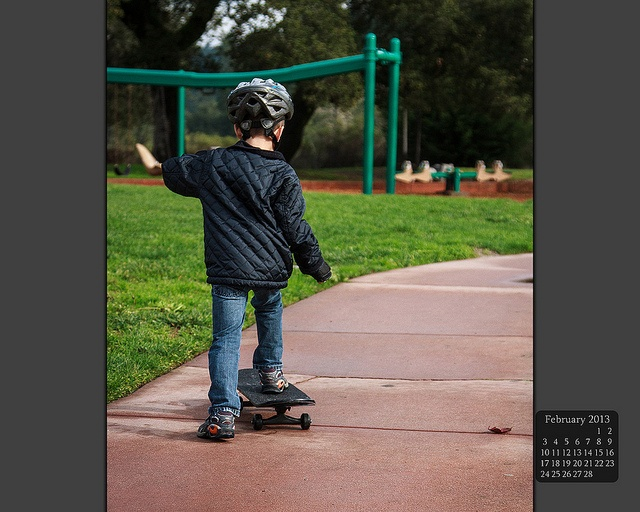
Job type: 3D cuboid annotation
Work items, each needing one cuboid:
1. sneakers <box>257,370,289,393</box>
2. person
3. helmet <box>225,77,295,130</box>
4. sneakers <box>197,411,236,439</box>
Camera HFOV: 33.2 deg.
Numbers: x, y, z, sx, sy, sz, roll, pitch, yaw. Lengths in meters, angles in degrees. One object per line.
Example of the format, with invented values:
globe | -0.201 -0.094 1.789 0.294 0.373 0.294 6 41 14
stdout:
sneakers | -0.369 0.985 8.417 0.106 0.188 0.288 2 4 30
person | -0.568 0.015 8.280 1.231 2.766 0.439 0 3 -8
helmet | -0.479 -1.169 8.236 0.385 0.370 0.459 2 12 3
sneakers | -0.772 1.284 8.119 0.139 0.162 0.334 5 -6 -39
